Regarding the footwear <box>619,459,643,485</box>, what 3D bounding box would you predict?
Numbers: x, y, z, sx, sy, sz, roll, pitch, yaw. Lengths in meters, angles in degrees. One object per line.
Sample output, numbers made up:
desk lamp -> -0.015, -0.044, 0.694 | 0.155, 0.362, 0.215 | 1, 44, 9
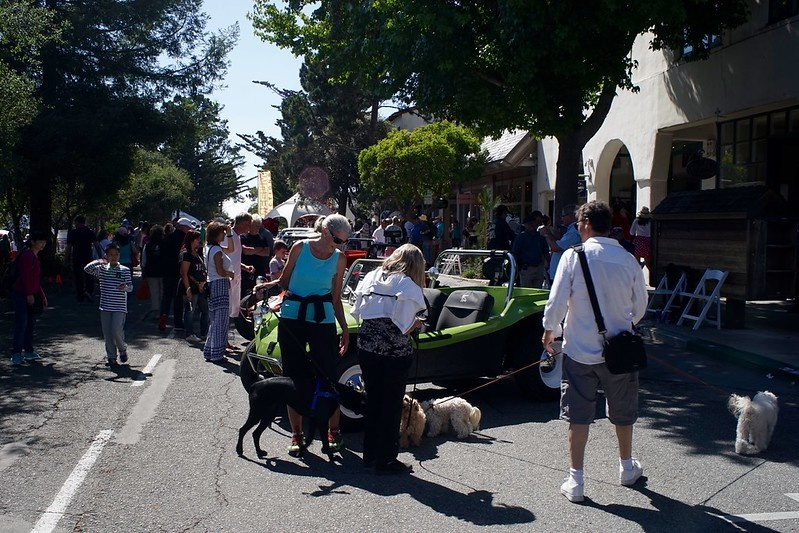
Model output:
footwear -> 2.335, 2.085, 6.438 | 0.137, 0.159, 0.355 | 1, 9, 31

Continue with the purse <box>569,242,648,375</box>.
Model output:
purse -> 2.038, 0.433, 6.193 | 0.689, 1.220, 0.299 | 2, 9, 13

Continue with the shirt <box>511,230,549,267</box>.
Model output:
shirt -> 2.652, -0.363, 12.867 | 0.725, 0.759, 0.391 | -1, 3, -11

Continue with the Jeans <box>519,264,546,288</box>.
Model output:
Jeans -> 2.723, 0.169, 13.186 | 0.380, 0.894, 0.272 | -3, 12, -27

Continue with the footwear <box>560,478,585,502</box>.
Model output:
footwear -> 1.687, 2.182, 6.281 | 0.127, 0.171, 0.279 | -1, 5, -10

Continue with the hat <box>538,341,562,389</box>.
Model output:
hat -> 2.041, 1.327, 8.627 | 0.588, 0.629, 0.158 | -4, 2, -34

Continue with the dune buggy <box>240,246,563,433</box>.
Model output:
dune buggy -> -0.015, 0.839, 8.736 | 3.585, 1.794, 2.338 | 2, -4, -21
